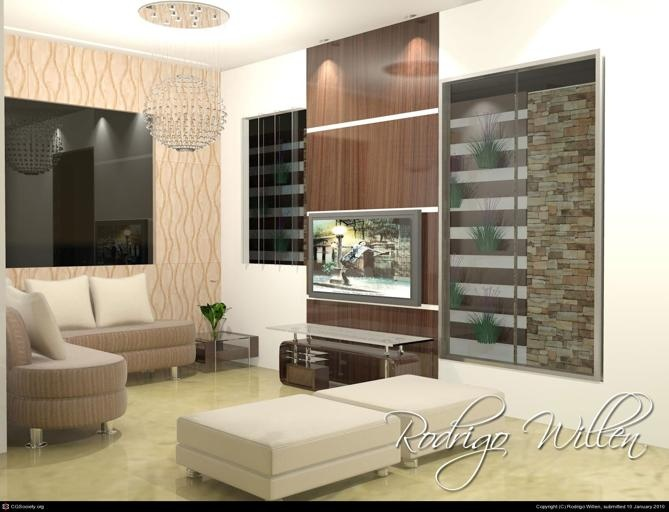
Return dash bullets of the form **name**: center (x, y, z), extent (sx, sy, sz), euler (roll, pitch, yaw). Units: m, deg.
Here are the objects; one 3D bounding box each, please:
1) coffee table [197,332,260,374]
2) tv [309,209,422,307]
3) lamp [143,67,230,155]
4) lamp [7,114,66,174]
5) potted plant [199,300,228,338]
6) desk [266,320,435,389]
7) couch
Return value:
- **coffee table**: center (-1.317, 1.353, 6.381), extent (0.824, 0.331, 0.830), euler (-16, -30, 8)
- **tv**: center (0.268, 0.023, 5.395), extent (1.439, 0.991, 0.051), euler (2, 2, 37)
- **lamp**: center (-1.501, -1.467, 5.106), extent (0.642, 0.621, 0.663), euler (16, 24, 14)
- **lamp**: center (-3.406, -1.248, 5.679), extent (0.587, 0.683, 0.601), euler (1, 2, 43)
- **potted plant**: center (-1.596, 0.845, 6.486), extent (0.437, 0.418, 0.316), euler (-3, -10, -1)
- **desk**: center (0.075, 1.130, 5.086), extent (1.708, 0.619, 0.526), euler (-2, -9, 41)
- **couch**: center (-2.250, 0.855, 4.274), extent (1.335, 0.695, 1.531), euler (1, 0, 40)
